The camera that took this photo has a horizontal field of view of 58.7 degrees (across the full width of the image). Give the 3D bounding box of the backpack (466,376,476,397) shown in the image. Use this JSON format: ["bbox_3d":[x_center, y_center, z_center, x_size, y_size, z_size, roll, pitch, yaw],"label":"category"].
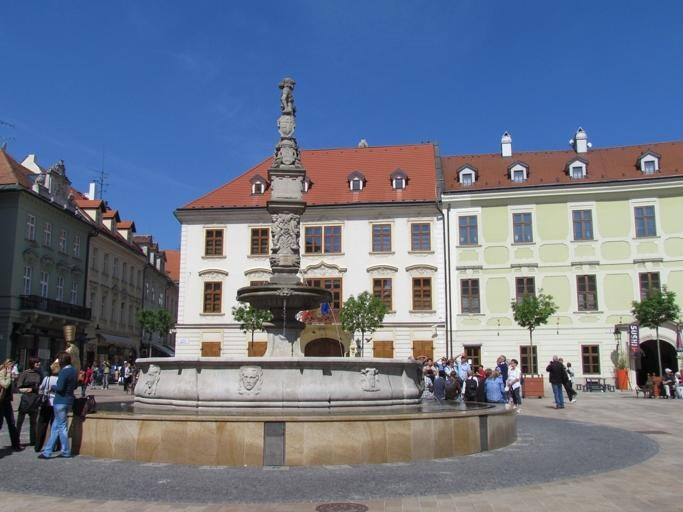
[{"bbox_3d":[3.708,3.843,17.868,0.325,0.470,0.472,-1,-10,6],"label":"backpack"}]

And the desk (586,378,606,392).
[{"bbox_3d":[14.308,7.244,34.511,0.941,0.919,1.563,1,-5,5],"label":"desk"}]

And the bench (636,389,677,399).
[{"bbox_3d":[14.583,6.261,27.899,1.184,0.409,0.819,-5,-13,22],"label":"bench"}]

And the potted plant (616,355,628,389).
[{"bbox_3d":[16.671,6.845,36.204,0.677,2.091,0.983,-6,-15,27],"label":"potted plant"}]

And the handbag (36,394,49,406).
[{"bbox_3d":[-5.944,2.848,12.109,0.269,0.245,0.097,0,-16,-12],"label":"handbag"}]

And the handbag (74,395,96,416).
[{"bbox_3d":[-5.071,2.969,12.048,0.537,0.400,0.309,4,-20,-30],"label":"handbag"}]
